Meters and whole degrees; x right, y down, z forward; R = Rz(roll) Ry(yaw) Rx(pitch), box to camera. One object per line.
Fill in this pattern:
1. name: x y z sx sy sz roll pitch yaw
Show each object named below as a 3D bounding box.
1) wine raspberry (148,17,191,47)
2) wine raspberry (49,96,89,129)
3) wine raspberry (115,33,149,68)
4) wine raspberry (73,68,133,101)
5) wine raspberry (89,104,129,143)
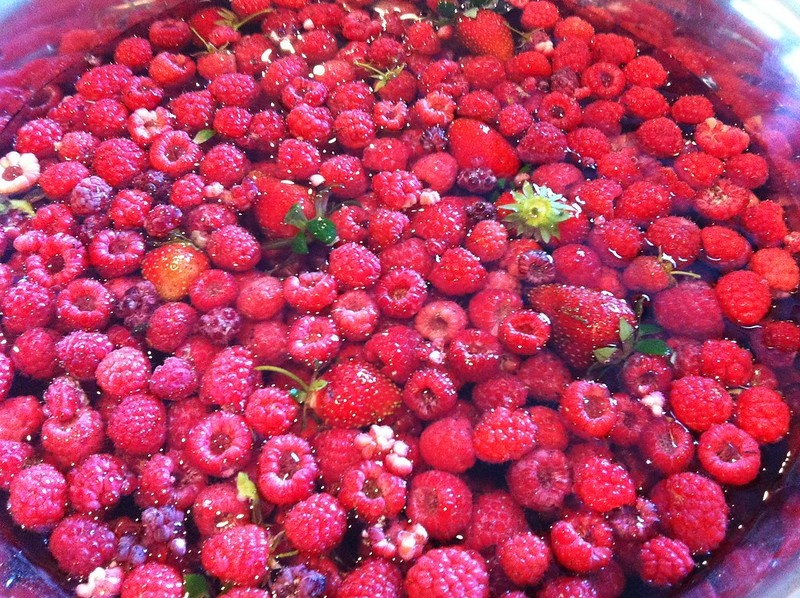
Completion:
1. wine raspberry: -0.861 -0.988 3.058 0.161 0.048 0.111 -9 68 -14
2. wine raspberry: -1.202 -0.666 2.982 0.122 0.056 0.108 -16 75 -7
3. wine raspberry: -0.985 -0.907 3.027 0.118 0.066 0.102 -28 87 -18
4. wine raspberry: -1.087 -0.784 2.993 0.203 0.054 0.118 -7 68 -13
5. wine raspberry: -1.064 -0.641 3.010 0.120 0.093 0.132 -2 85 -3
